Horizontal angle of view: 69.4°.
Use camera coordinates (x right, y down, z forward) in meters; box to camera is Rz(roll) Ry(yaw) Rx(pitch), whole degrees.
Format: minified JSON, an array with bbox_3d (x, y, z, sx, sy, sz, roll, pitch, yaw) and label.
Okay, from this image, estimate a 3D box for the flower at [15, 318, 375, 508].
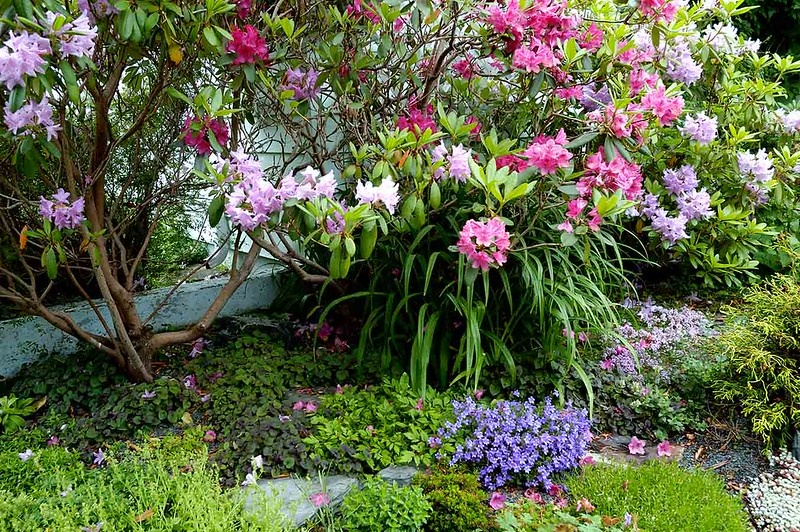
[{"bbox_3d":[-1.359,0.845,4.033,2.178,0.704,1.289,14,10,10],"label":"flower"}]
